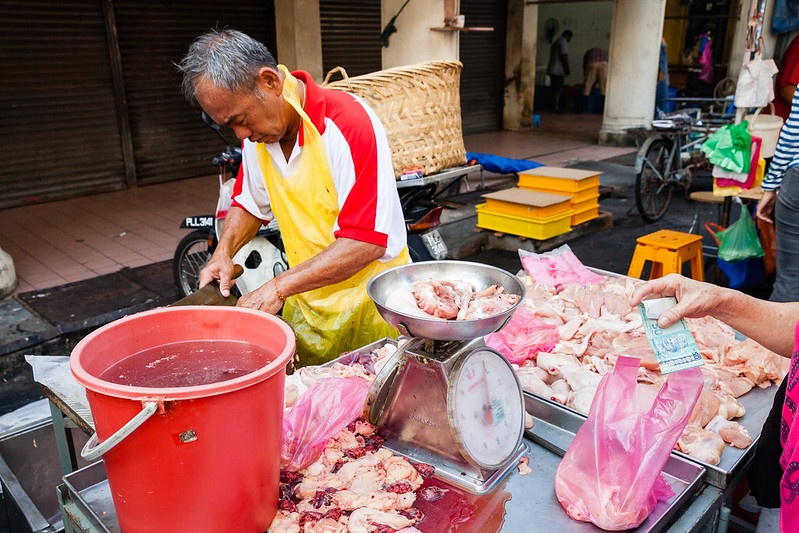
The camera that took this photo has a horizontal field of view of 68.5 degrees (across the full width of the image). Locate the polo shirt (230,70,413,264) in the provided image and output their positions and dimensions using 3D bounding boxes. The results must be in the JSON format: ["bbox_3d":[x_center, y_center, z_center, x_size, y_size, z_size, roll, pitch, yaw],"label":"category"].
[{"bbox_3d":[-0.346,-0.460,2.723,0.830,0.813,0.349,21,32,39],"label":"polo shirt"}]

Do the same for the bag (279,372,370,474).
[{"bbox_3d":[-0.241,0.610,2.387,0.372,0.231,0.623,9,8,1],"label":"bag"}]

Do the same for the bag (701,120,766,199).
[{"bbox_3d":[3.087,-0.907,5.435,0.691,0.741,0.302,-2,5,13],"label":"bag"}]

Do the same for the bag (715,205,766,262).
[{"bbox_3d":[2.805,-0.274,4.852,0.247,0.469,0.406,-28,32,-31],"label":"bag"}]

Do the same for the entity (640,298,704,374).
[{"bbox_3d":[0.873,0.240,1.894,0.144,0.057,0.273,-15,68,2],"label":"entity"}]

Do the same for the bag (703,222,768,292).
[{"bbox_3d":[3.176,-0.153,5.483,0.337,0.692,0.778,-2,58,16],"label":"bag"}]

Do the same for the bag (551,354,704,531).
[{"bbox_3d":[0.747,0.627,1.973,0.390,0.153,0.629,15,73,35],"label":"bag"}]

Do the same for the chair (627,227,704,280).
[{"bbox_3d":[2.255,-0.086,4.974,0.434,0.440,0.433,-16,21,-32],"label":"chair"}]

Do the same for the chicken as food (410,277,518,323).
[{"bbox_3d":[0.227,0.118,2.048,0.382,0.078,0.265,10,27,22],"label":"chicken as food"}]

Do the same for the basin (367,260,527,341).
[{"bbox_3d":[0.152,0.113,2.111,0.351,0.085,0.354,-1,27,1],"label":"basin"}]

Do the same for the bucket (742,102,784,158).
[{"bbox_3d":[3.462,-1.266,5.534,0.337,0.443,0.280,-8,4,-28],"label":"bucket"}]
